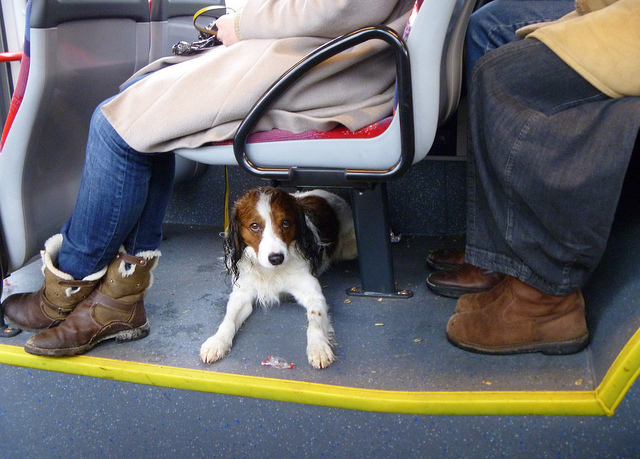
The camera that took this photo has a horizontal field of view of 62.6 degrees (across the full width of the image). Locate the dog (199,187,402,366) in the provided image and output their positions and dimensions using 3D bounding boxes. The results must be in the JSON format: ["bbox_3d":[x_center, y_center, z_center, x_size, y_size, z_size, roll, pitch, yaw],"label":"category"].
[{"bbox_3d":[-0.180,0.130,2.677,0.664,0.353,0.897,2,17,11],"label":"dog"}]

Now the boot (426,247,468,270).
[{"bbox_3d":[0.647,0.139,2.646,0.208,0.092,0.092,5,10,34],"label":"boot"}]

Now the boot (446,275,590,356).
[{"bbox_3d":[0.709,0.252,1.966,0.516,0.401,0.230,-3,20,27],"label":"boot"}]

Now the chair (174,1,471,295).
[{"bbox_3d":[0.080,-0.402,2.036,0.895,0.890,0.682,5,13,17],"label":"chair"}]
